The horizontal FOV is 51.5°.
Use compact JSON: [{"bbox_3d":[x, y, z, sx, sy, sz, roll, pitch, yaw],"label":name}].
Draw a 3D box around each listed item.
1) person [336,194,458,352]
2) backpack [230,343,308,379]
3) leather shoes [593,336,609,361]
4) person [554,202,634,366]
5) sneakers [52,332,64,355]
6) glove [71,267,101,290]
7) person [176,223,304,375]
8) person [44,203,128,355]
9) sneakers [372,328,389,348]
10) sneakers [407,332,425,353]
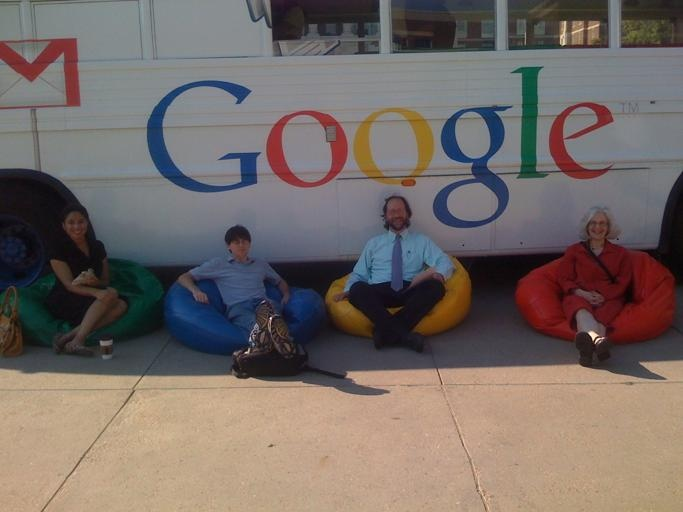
[{"bbox_3d":[0.487,0.073,6.515,1.045,1.379,1.048,-2,4,8],"label":"person"},{"bbox_3d":[-0.577,0.833,5.618,0.433,0.166,0.273,2,1,-3],"label":"backpack"},{"bbox_3d":[2.063,0.724,5.633,0.080,0.232,0.090,-1,26,9],"label":"leather shoes"},{"bbox_3d":[2.148,0.185,6.087,0.603,0.925,1.397,3,37,26],"label":"person"},{"bbox_3d":[-2.419,0.737,6.052,0.068,0.193,0.067,-1,-25,6],"label":"sneakers"},{"bbox_3d":[-2.209,0.190,6.157,0.130,0.099,0.184,5,10,32],"label":"glove"},{"bbox_3d":[-0.820,0.335,6.084,1.014,0.935,1.561,-2,19,-17],"label":"person"},{"bbox_3d":[-2.251,0.178,6.112,0.680,1.162,0.670,-17,22,-35],"label":"person"},{"bbox_3d":[0.330,0.712,6.138,0.099,0.172,0.168,-7,47,3],"label":"sneakers"},{"bbox_3d":[0.629,0.727,6.043,0.162,0.138,0.171,-2,19,4],"label":"sneakers"}]
